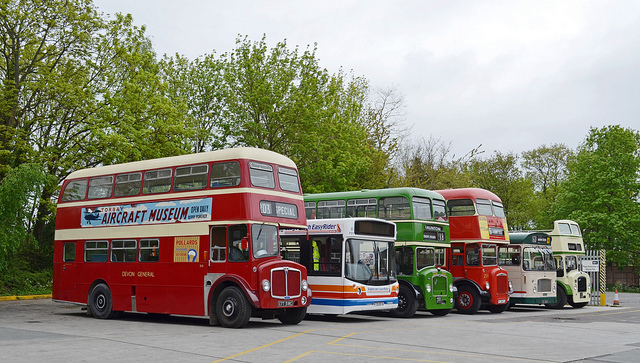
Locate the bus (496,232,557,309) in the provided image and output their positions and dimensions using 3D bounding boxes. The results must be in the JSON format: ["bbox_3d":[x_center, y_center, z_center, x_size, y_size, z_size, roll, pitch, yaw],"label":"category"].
[{"bbox_3d":[13.862,6.271,34.203,2.647,4.526,8.891,2,-8,-3],"label":"bus"}]

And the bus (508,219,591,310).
[{"bbox_3d":[15.546,5.825,31.941,7.188,4.961,3.045,-3,-2,42],"label":"bus"}]

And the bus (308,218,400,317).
[{"bbox_3d":[-0.365,4.785,26.149,8.424,4.646,4.710,-7,-13,37],"label":"bus"}]
